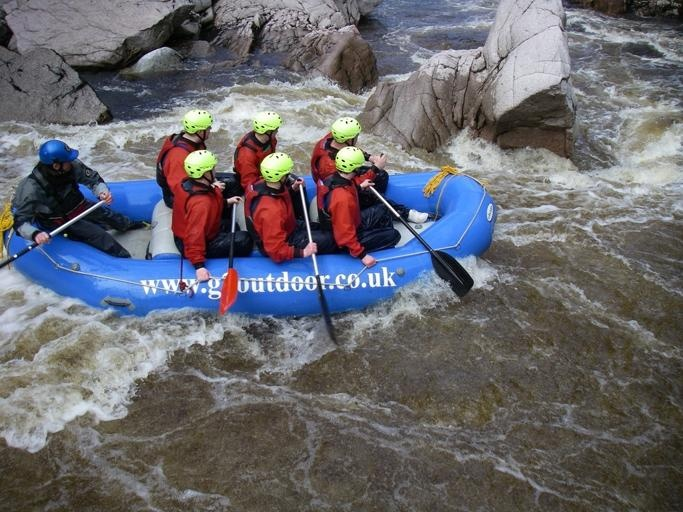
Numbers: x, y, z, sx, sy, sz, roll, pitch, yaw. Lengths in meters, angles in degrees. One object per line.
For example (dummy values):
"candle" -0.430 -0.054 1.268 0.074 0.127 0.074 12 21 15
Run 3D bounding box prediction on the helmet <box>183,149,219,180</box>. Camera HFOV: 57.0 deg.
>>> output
"helmet" -1.772 -1.207 7.980 0.298 0.242 0.395 23 59 26

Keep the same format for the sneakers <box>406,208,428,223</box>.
"sneakers" 1.139 -0.594 9.369 0.272 0.124 0.191 5 32 -22

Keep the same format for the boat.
"boat" -1.033 -0.051 8.521 5.475 1.311 2.679 -6 52 -1

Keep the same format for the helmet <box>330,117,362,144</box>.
"helmet" 0.063 -1.776 8.817 0.357 0.303 0.295 -7 42 -8

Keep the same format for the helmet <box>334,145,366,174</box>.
"helmet" 0.112 -1.262 8.217 0.354 0.276 0.333 -2 41 -3

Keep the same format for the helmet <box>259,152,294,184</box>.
"helmet" -0.809 -1.125 8.072 0.412 0.325 0.325 -38 43 -14

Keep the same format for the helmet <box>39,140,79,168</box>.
"helmet" -3.591 -1.308 7.984 0.425 0.240 0.312 -15 49 -19

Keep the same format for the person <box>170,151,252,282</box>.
"person" -1.737 -0.465 8.258 0.806 1.354 1.087 -12 61 -31

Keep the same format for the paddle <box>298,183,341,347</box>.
"paddle" -0.271 0.206 8.323 0.160 0.127 2.233 -13 82 -13

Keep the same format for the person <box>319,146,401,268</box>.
"person" 0.222 -0.615 8.566 0.759 1.366 0.995 -18 56 -2

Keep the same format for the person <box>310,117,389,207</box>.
"person" 0.152 -1.372 9.147 1.046 1.275 0.957 -27 47 -27

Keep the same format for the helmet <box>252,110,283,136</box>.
"helmet" -1.042 -1.931 8.841 0.360 0.296 0.276 13 47 -13

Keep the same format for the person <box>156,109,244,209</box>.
"person" -2.011 -1.356 8.872 1.140 1.422 0.894 3 31 -8

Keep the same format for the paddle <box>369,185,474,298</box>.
"paddle" 1.129 -0.149 8.706 0.404 0.089 2.176 -38 76 -10
